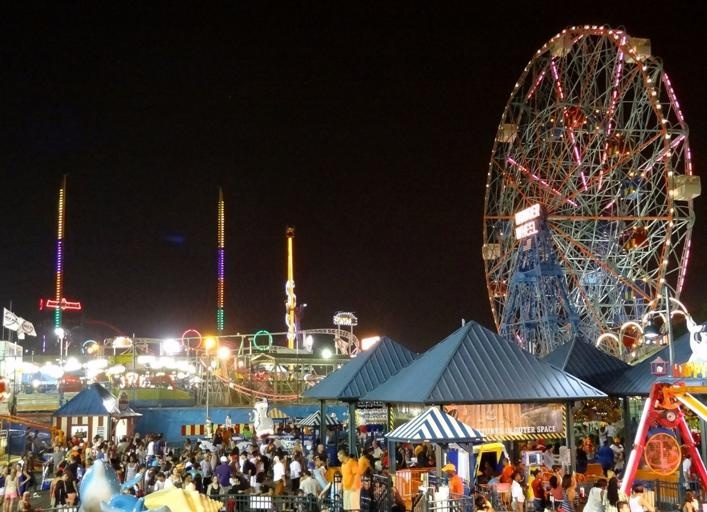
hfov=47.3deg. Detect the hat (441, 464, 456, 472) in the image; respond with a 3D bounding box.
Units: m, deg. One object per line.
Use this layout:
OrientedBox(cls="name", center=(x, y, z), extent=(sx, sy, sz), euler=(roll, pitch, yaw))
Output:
OrientedBox(cls="hat", center=(3.049, 6.790, 25.902), extent=(0.339, 0.203, 0.527), euler=(1, -3, 6))
